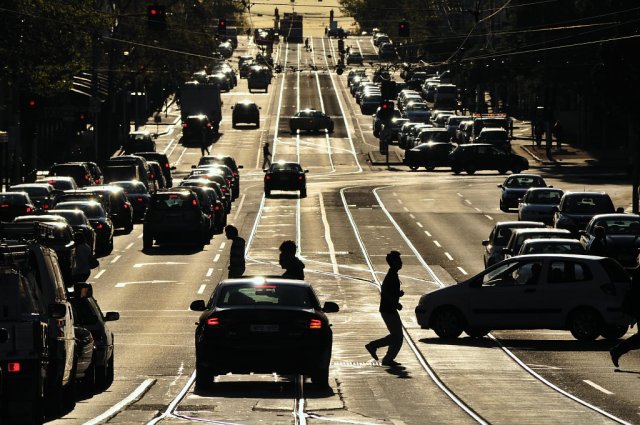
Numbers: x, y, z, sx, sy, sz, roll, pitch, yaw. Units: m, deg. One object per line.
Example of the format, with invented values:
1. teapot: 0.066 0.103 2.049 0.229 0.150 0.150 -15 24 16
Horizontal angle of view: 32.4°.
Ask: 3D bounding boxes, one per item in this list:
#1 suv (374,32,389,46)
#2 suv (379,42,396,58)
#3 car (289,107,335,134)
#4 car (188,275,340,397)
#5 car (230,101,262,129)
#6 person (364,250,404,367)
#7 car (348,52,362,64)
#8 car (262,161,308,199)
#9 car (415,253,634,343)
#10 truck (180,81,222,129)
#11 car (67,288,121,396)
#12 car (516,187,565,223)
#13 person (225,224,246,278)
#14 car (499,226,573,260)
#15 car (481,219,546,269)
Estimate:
1. suv: 10.953 -30.121 191.937 2.316 1.622 4.951 1 14 1
2. suv: 10.838 -25.470 174.620 2.307 2.319 3.134 -1 9 -5
3. car: -0.785 -8.100 98.322 3.986 2.040 2.606 -3 9 -17
4. car: -0.980 2.246 19.424 1.967 1.184 3.752 0 3 -2
5. car: -6.832 -9.118 102.672 2.453 2.375 2.878 0 9 -1
6. person: 1.368 1.921 22.252 0.655 2.289 0.561 3 9 21
7. car: 5.128 -22.953 163.987 2.165 1.374 1.543 0 -1 -3
8. car: -1.860 -1.794 59.835 2.262 1.925 0.848 3 9 20
9. car: 4.809 1.889 25.824 4.167 1.561 2.054 1 0 7
10. truck: -10.544 -9.902 97.559 2.843 2.449 4.589 0 7 -1
11. car: -4.035 2.253 20.021 1.115 0.907 1.793 0 9 0
12. car: 9.063 -0.300 44.797 1.585 1.086 3.349 0 1 1
13. person: -1.983 0.936 25.943 0.438 1.318 1.469 -1 9 -6
14. car: 6.209 0.912 32.569 1.019 0.797 1.655 -1 10 -2
15. car: 5.912 0.956 35.014 1.255 1.021 2.089 0 2 -2
